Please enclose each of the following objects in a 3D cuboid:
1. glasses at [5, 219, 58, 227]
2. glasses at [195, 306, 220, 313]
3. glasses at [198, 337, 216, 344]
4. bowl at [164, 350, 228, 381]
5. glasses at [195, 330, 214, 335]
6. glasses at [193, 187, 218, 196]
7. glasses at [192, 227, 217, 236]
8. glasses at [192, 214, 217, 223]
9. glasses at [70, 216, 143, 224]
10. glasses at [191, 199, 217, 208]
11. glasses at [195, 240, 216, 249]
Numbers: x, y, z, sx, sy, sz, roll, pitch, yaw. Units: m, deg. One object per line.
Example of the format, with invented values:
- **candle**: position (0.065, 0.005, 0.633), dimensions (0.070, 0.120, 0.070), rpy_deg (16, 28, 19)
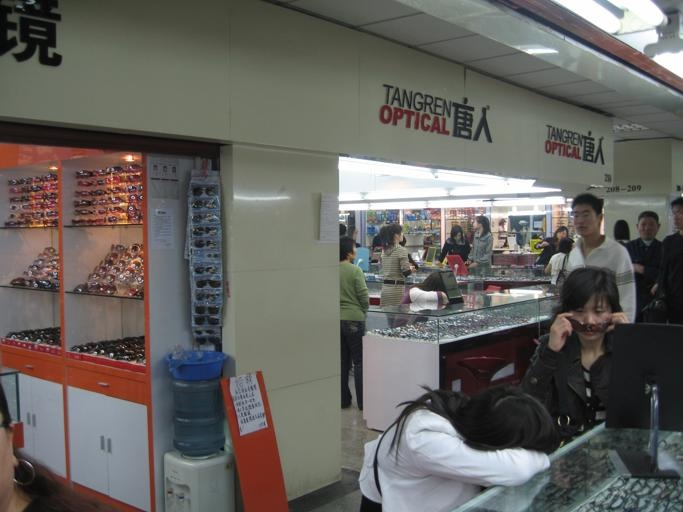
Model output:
- **glasses**: position (-3.078, -0.329, 5.228), dimensions (0.495, 0.073, 0.050), rpy_deg (0, 3, 15)
- **glasses**: position (-1.006, 0.401, 3.892), dimensions (0.184, 0.060, 0.020), rpy_deg (0, 5, 3)
- **glasses**: position (-1.031, 0.644, 3.965), dimensions (0.065, 0.028, 0.092), rpy_deg (1, 0, -7)
- **bowl**: position (-1.078, 0.823, 3.845), dimensions (0.449, 0.221, 0.309), rpy_deg (-2, 5, -13)
- **glasses**: position (-1.044, 0.581, 3.945), dimensions (0.134, 0.045, 0.015), rpy_deg (-1, 5, 1)
- **glasses**: position (-1.006, -0.478, 3.888), dimensions (0.144, 0.080, 0.035), rpy_deg (-2, 5, 1)
- **glasses**: position (-1.006, -0.181, 3.837), dimensions (0.172, 0.061, 0.037), rpy_deg (-2, 5, -15)
- **glasses**: position (-1.001, -0.274, 3.827), dimensions (0.178, 0.079, 0.061), rpy_deg (2, 1, -2)
- **glasses**: position (-2.004, -0.308, 4.546), dimensions (0.655, 0.082, 0.198), rpy_deg (0, 5, 10)
- **glasses**: position (-1.008, -0.381, 3.827), dimensions (0.174, 0.058, 0.073), rpy_deg (0, 17, -1)
- **glasses**: position (-1.007, -0.102, 3.872), dimensions (0.178, 0.056, 0.076), rpy_deg (-3, 11, -14)
